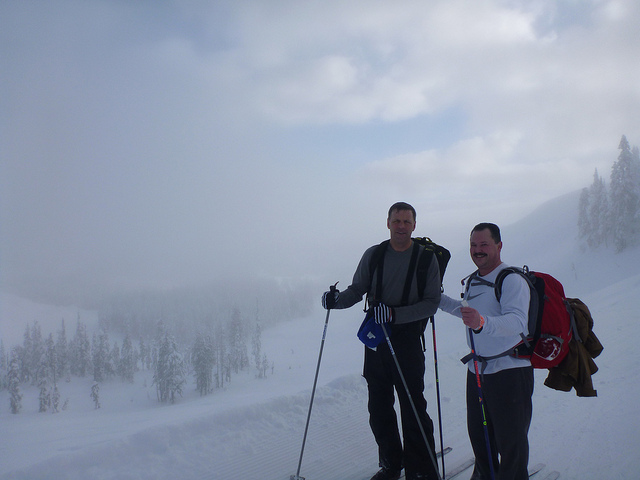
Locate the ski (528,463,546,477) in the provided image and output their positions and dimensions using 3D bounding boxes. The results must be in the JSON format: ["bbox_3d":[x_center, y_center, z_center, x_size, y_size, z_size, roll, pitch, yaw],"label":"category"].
[{"bbox_3d":[5.150,5.421,12.890,0.687,0.033,0.168,-19,32,-26],"label":"ski"}]

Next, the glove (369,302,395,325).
[{"bbox_3d":[1.392,1.695,12.157,0.470,0.389,0.447,37,-49,-27],"label":"glove"}]

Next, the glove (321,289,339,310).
[{"bbox_3d":[0.240,1.366,12.629,0.300,0.468,0.161,14,-4,5],"label":"glove"}]

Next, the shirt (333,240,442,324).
[{"bbox_3d":[1.687,0.951,12.497,2.127,1.840,0.736,5,4,22],"label":"shirt"}]
